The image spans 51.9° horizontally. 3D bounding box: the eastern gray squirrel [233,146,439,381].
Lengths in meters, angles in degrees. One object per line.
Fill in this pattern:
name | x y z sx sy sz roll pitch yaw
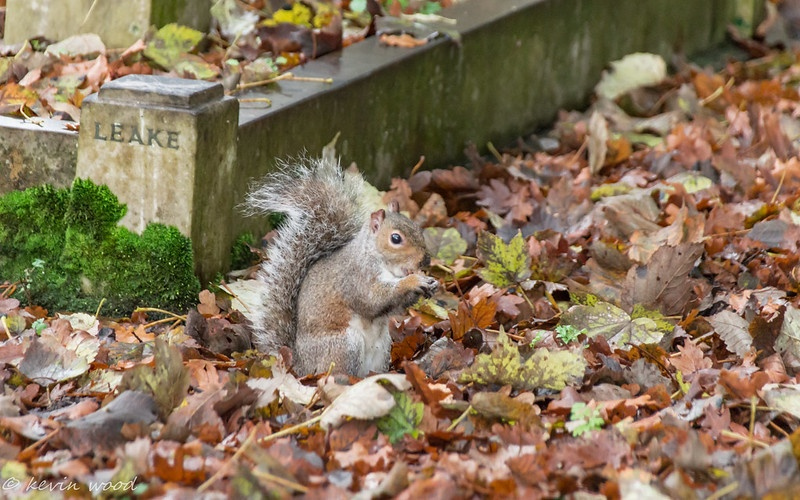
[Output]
eastern gray squirrel | -0.322 0.124 4.388 0.976 0.895 0.750 7 22 15
